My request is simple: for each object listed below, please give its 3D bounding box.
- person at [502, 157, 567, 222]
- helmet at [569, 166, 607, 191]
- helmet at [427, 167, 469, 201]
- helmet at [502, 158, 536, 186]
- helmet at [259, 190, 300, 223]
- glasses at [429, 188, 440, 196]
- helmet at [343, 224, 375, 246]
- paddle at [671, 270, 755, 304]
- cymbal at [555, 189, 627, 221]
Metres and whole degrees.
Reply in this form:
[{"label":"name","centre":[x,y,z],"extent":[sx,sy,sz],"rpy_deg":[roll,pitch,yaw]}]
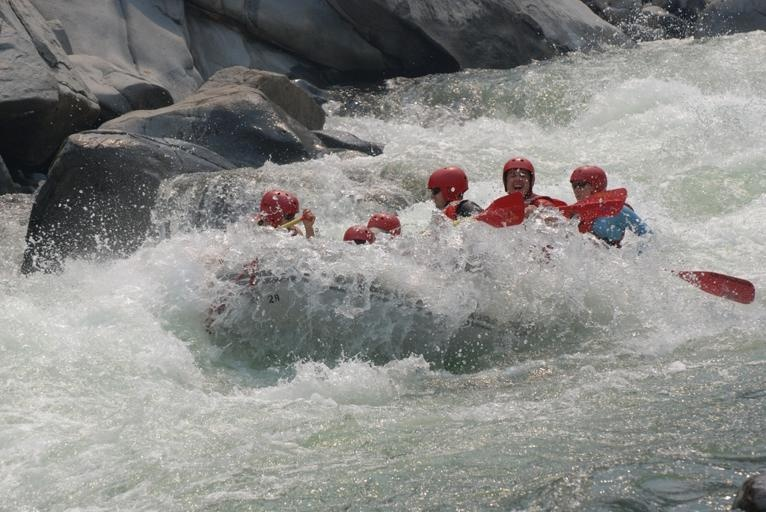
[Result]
[{"label":"person","centre":[1.860,-0.858,14.795],"extent":[0.715,0.797,0.400],"rpy_deg":[-5,3,32]},{"label":"helmet","centre":[2.705,-0.991,14.896],"extent":[0.450,0.311,0.307],"rpy_deg":[-14,23,13]},{"label":"helmet","centre":[0.877,-0.952,15.155],"extent":[0.584,0.386,0.386],"rpy_deg":[2,5,15]},{"label":"helmet","centre":[1.814,-1.140,15.112],"extent":[0.369,0.345,0.418],"rpy_deg":[4,-16,13]},{"label":"helmet","centre":[-1.392,-0.646,15.156],"extent":[0.551,0.430,0.378],"rpy_deg":[-6,16,-7]},{"label":"glasses","centre":[0.688,-0.858,15.119],"extent":[0.093,0.073,0.091],"rpy_deg":[-19,56,1]},{"label":"helmet","centre":[-0.318,-0.260,14.783],"extent":[0.266,0.235,0.332],"rpy_deg":[4,17,12]},{"label":"paddle","centre":[4.088,0.361,13.988],"extent":[1.042,0.286,0.068],"rpy_deg":[16,-6,11]},{"label":"cymbal","centre":[2.699,-0.622,14.528],"extent":[0.938,0.292,0.283],"rpy_deg":[-12,24,-11]}]
